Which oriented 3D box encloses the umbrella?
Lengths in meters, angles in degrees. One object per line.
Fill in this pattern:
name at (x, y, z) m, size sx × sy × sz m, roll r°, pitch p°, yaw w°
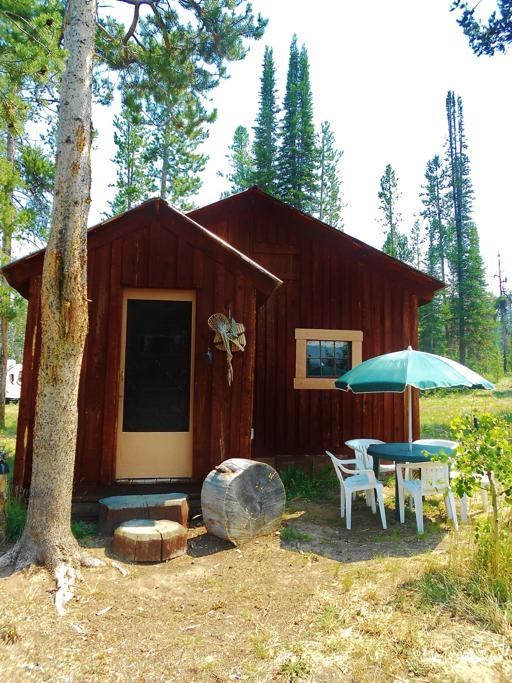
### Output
umbrella at (1.752, 0.841, 6.414) m, size 1.409 × 1.146 × 1.559 m, roll 0°, pitch -3°, yaw 24°
